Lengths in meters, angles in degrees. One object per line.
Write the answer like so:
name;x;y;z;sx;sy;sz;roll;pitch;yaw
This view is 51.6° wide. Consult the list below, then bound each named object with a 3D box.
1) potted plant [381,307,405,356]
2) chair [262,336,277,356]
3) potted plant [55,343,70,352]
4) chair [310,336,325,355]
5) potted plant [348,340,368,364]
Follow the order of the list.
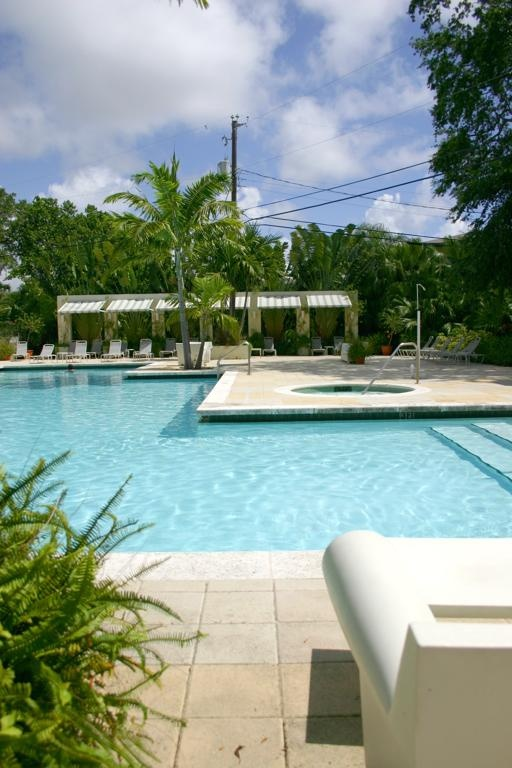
potted plant;6.857;-2.719;26.776;1.021;2.168;3.792;0;8;12
chair;0.649;-1.934;26.654;0.608;0.930;0.915;0;1;-6
potted plant;-10.120;-1.926;27.859;0.586;0.637;0.438;1;-4;-11
chair;3.100;-1.971;26.987;0.604;1.005;0.910;0;2;-8
potted plant;3.785;-1.206;20.072;0.653;0.817;0.852;0;8;15
